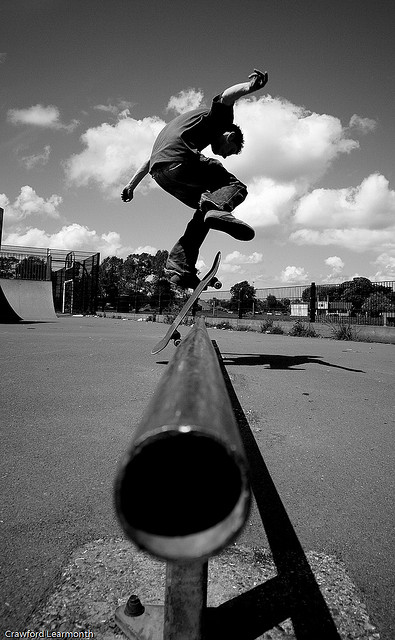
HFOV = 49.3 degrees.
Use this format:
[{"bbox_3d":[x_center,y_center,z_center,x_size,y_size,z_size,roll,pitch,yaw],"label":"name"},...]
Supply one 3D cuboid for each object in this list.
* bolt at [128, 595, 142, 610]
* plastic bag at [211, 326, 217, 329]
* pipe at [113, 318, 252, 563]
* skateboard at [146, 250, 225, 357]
[{"bbox_3d":[-0.122,0.544,0.831,0.024,0.015,0.027,0,5,-23],"label":"bolt"},{"bbox_3d":[0.505,0.241,13.299,0.187,0.059,0.209,-5,-3,-25],"label":"plastic bag"},{"bbox_3d":[-0.001,0.155,0.542,0.133,0.164,0.284,2,4,7],"label":"pipe"},{"bbox_3d":[-0.007,-0.099,3.321,0.875,0.119,0.208,-51,-6,7],"label":"skateboard"}]
